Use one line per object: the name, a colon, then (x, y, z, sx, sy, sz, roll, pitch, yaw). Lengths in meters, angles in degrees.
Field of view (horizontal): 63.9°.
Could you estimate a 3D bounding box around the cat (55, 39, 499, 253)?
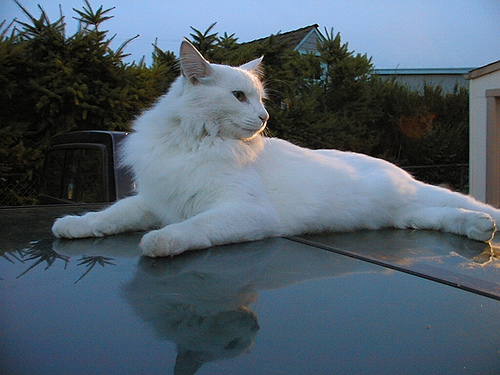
cat: (0.118, -0.256, 3.132, 2.826, 1.216, 1.422, 4, -10, -27)
